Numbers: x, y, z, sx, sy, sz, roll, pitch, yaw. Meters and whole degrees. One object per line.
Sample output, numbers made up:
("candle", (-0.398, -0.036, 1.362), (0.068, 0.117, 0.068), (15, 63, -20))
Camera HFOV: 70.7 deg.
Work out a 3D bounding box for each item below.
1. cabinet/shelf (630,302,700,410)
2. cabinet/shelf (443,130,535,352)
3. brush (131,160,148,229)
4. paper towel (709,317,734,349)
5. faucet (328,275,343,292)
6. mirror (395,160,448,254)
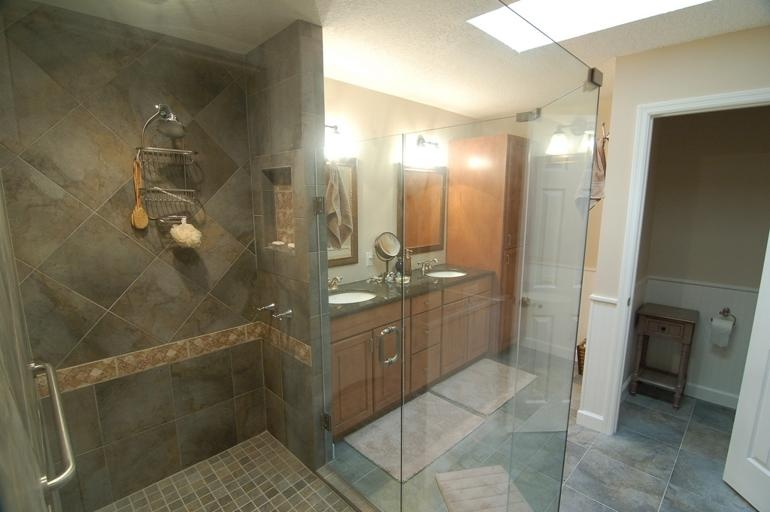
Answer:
("cabinet/shelf", (2.331, 0.808, 4.531), (0.451, 0.771, 0.364), (8, 11, 31))
("cabinet/shelf", (0.590, -0.031, 3.242), (0.428, 1.280, 0.325), (6, 7, 35))
("brush", (-1.570, -0.350, 3.458), (0.087, 0.350, 0.025), (-7, -8, -10))
("paper towel", (2.701, 0.603, 4.308), (0.136, 0.248, 0.208), (-13, 20, -40))
("faucet", (-0.338, 0.176, 3.632), (0.147, 0.065, 0.054), (3, 4, 35))
("mirror", (0.220, -0.279, 3.212), (0.291, 0.526, 0.052), (-5, 19, -18))
